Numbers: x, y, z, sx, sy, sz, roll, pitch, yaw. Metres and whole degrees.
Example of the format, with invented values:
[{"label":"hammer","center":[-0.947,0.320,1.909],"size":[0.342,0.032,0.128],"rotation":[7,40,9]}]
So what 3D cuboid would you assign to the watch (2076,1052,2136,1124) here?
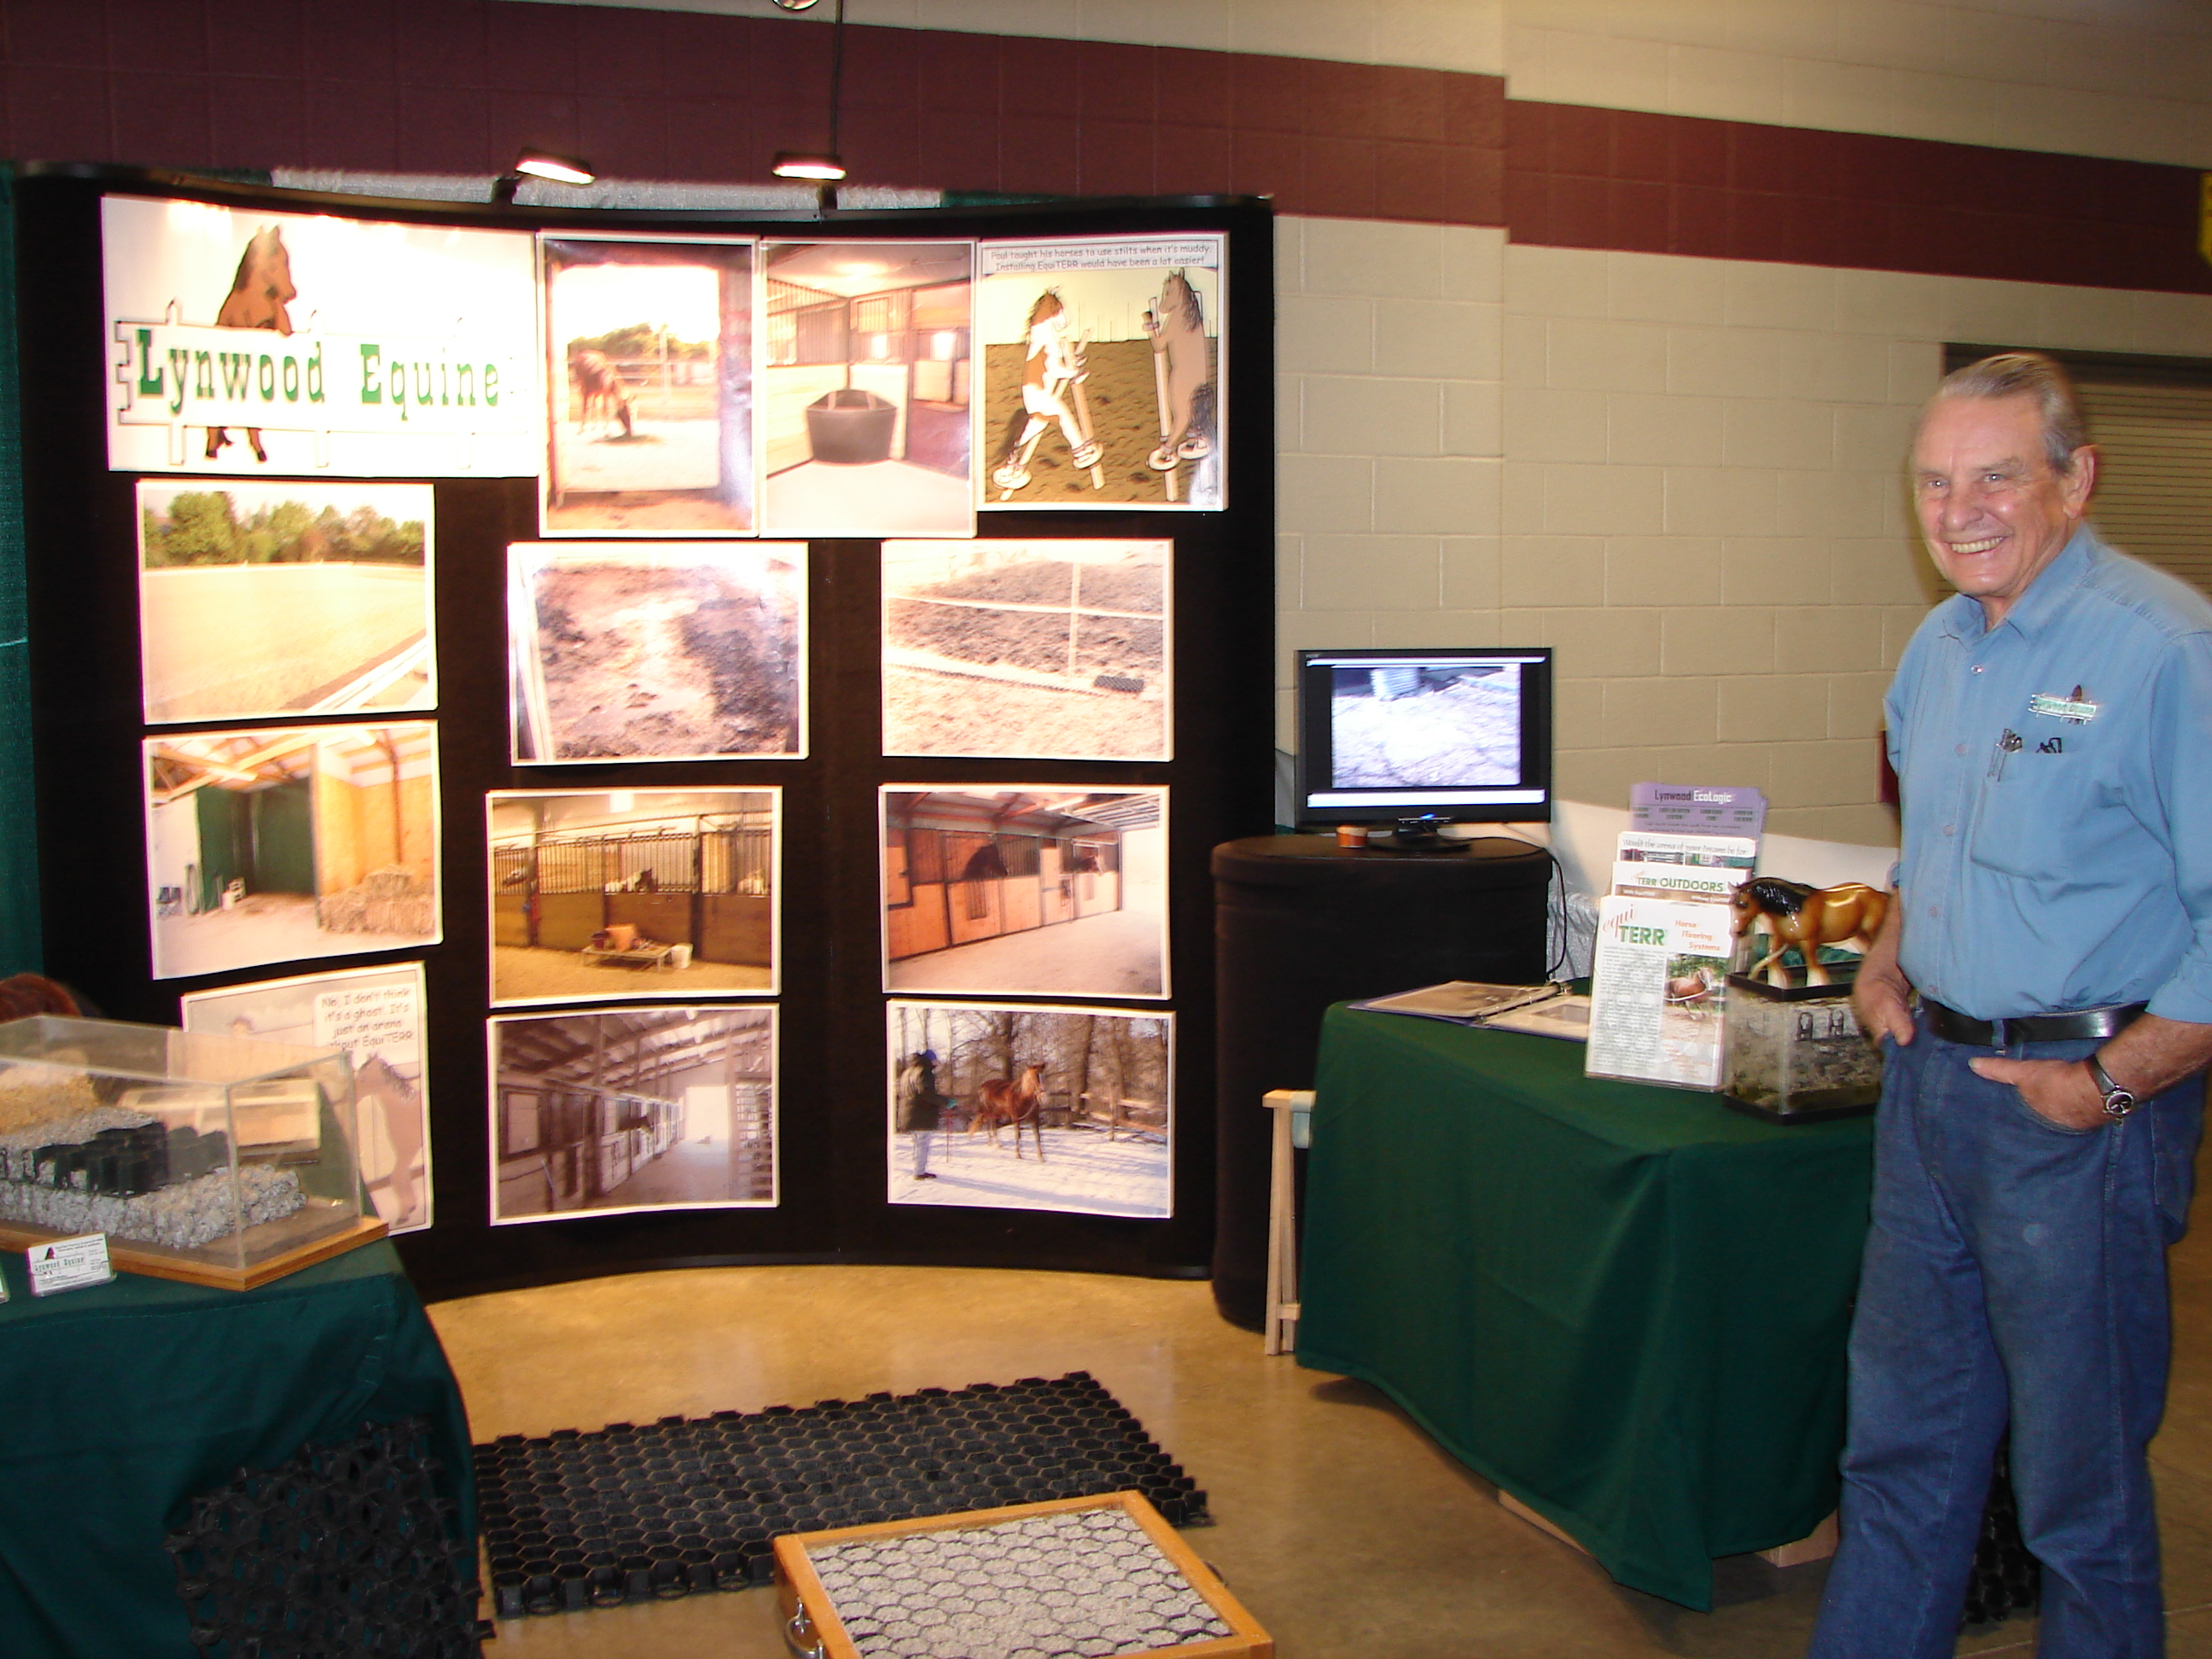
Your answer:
[{"label":"watch","center":[1.371,0.355,2.492],"size":[0.058,0.096,0.089],"rotation":[-25,44,16]}]

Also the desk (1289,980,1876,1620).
[{"label":"desk","center":[0.994,0.722,3.628],"size":[0.855,0.756,1.199],"rotation":[-10,14,-26]}]
